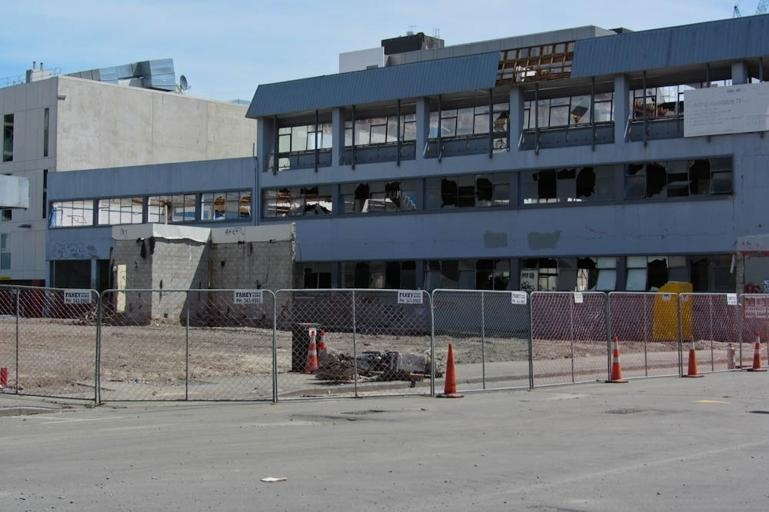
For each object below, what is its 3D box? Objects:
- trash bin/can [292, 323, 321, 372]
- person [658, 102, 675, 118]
[{"bbox_3d":[-2.919,3.475,50.528,1.445,2.234,1.549,2,-1,-4],"label":"trash bin/can"},{"bbox_3d":[15.154,-7.851,68.455,0.769,0.787,0.437,-2,-25,33],"label":"person"}]
